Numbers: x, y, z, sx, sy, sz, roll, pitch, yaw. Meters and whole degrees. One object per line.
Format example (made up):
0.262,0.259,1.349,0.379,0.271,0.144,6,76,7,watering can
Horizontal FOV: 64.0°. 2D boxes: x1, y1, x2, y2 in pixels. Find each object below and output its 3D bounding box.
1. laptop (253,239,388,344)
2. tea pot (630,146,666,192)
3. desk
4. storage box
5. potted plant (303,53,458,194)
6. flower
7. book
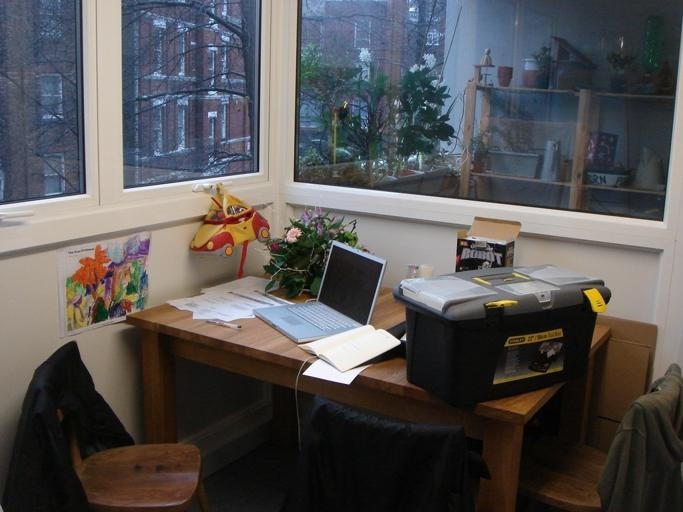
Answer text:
-0.080,0.158,2.186,0.430,0.301,0.403,-1,15,-39,laptop
1.251,-0.356,2.224,0.142,0.195,0.158,1,13,13,tea pot
-0.074,0.435,1.927,1.203,0.657,0.916,10,16,34,desk
0.465,0.097,1.674,0.591,0.311,0.400,-6,11,-29,storage box
0.201,-0.738,2.939,0.766,0.656,0.626,5,24,12,potted plant
-0.156,-0.029,2.590,0.423,0.314,0.407,2,1,8,flower
0.029,0.317,1.954,0.285,0.077,0.235,-8,14,-29,book
